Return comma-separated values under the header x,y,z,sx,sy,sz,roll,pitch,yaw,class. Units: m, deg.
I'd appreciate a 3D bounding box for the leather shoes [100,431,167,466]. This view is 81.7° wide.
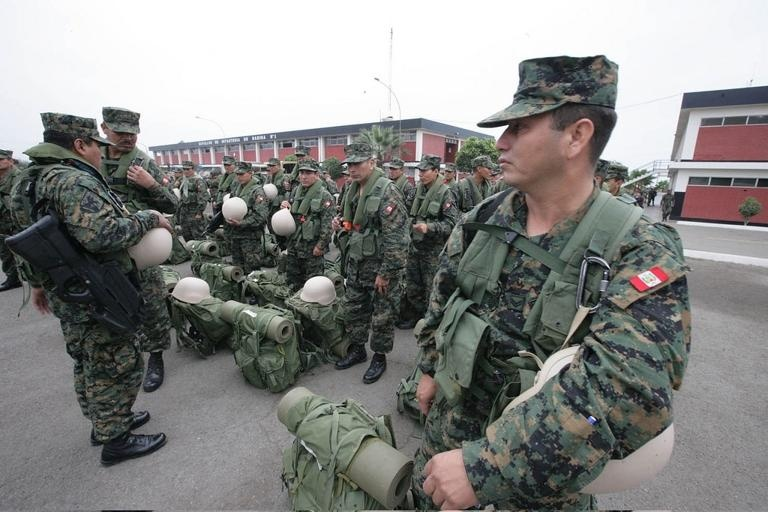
x,y,z,sx,sy,sz,roll,pitch,yaw,class
-2.263,1.696,4.125,0.608,0.287,0.218,-7,13,-35,leather shoes
